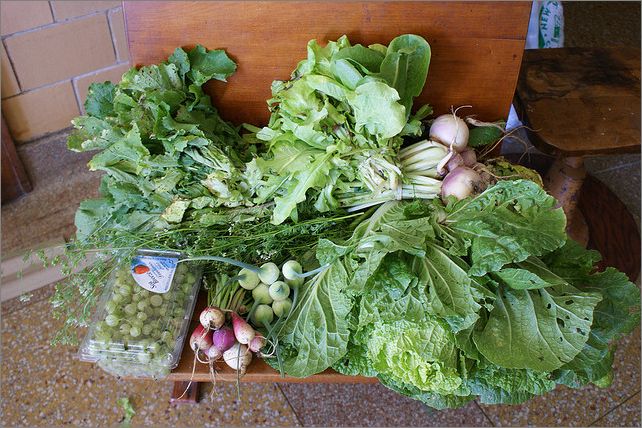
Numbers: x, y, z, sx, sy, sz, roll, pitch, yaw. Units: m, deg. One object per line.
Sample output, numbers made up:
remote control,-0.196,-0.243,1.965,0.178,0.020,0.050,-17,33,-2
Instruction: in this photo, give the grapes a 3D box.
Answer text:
grapes,-0.664,0.378,1.727,0.315,0.296,0.412,11,42,12

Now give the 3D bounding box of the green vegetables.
green vegetables,0.092,-0.330,1.770,0.724,0.615,0.443,-5,40,-8
